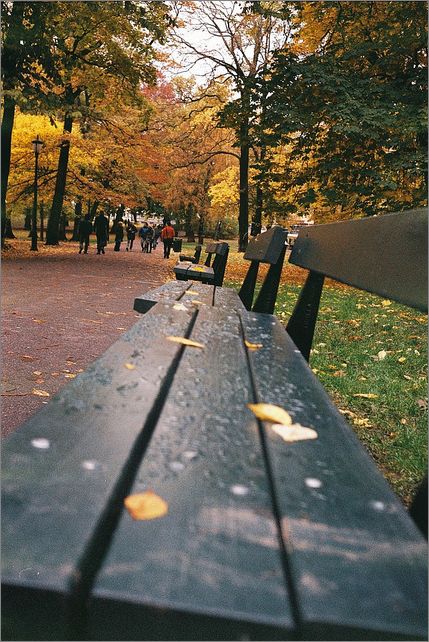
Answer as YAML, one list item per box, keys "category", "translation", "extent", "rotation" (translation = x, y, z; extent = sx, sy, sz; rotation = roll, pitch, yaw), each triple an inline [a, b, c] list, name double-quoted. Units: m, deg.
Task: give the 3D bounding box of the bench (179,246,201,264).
- category: "bench"
  translation: [-0.535, -1.543, 9.953]
  extent: [0.605, 0.608, 0.628]
  rotation: [2, 7, -3]
